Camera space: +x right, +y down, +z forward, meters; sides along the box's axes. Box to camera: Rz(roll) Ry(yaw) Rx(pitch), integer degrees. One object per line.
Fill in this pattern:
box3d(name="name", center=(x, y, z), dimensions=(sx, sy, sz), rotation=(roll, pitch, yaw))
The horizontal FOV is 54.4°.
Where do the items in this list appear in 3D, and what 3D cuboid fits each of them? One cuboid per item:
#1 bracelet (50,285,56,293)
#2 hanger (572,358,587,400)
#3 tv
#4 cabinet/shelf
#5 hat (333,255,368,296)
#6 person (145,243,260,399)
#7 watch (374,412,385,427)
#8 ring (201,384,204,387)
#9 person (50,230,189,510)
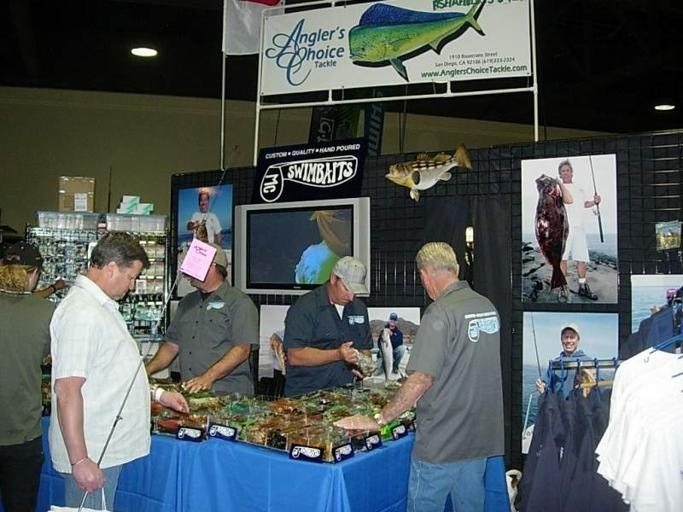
box3d(name="bracelet", center=(-3.040, 0.348, 6.968), dimensions=(0.075, 0.082, 0.023), rotation=(3, -11, -26))
box3d(name="hanger", center=(1.795, 0.910, 5.004), dimensions=(0.077, 0.246, 0.028), rotation=(1, 0, 21))
box3d(name="tv", center=(-0.401, -0.120, 6.001), dimensions=(1.506, 0.991, 0.151), rotation=(1, 5, -45))
box3d(name="cabinet/shelf", center=(-2.068, 0.200, 5.544), dimensions=(1.118, 1.081, 0.416), rotation=(1, 3, -3))
box3d(name="hat", center=(0.074, 0.113, 4.891), dimensions=(0.288, 0.159, 0.190), rotation=(48, 25, 26))
box3d(name="person", center=(-1.054, 0.581, 5.000), dimensions=(0.765, 1.317, 0.750), rotation=(0, 7, 25))
box3d(name="watch", center=(0.227, 0.983, 4.010), dimensions=(0.081, 0.055, 0.050), rotation=(1, 0, 27))
box3d(name="ring", center=(-0.970, 0.892, 4.590), dimensions=(0.016, 0.009, 0.016), rotation=(-4, -39, -3))
box3d(name="person", center=(-1.392, 0.674, 3.906), dimensions=(0.593, 1.631, 0.423), rotation=(0, 0, -27))
